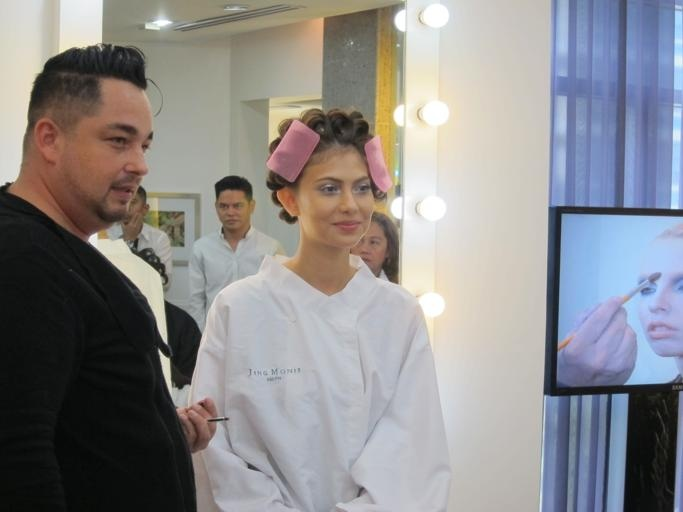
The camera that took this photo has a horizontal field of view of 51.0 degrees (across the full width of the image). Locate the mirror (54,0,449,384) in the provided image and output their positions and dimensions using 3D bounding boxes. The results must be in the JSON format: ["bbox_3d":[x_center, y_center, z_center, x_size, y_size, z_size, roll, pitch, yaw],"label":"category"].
[{"bbox_3d":[-0.258,-0.187,1.825,0.981,1.217,0.061,0,-1,-10],"label":"mirror"}]
